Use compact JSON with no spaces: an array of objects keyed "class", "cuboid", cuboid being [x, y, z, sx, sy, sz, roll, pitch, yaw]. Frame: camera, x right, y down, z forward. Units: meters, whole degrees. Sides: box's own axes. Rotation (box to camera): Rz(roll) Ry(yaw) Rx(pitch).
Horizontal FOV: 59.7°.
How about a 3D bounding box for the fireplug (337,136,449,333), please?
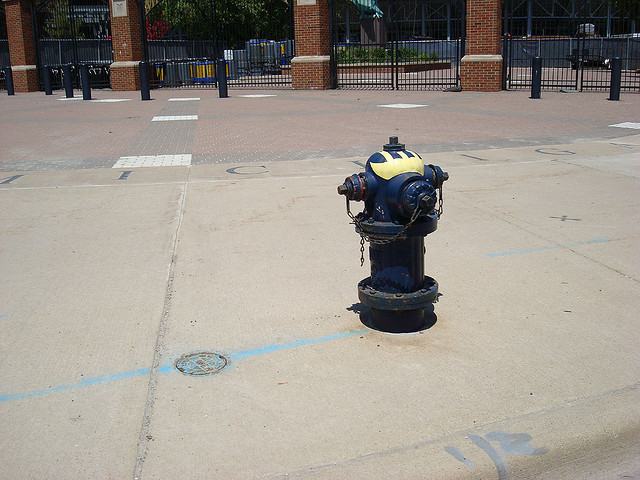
[{"class":"fireplug","cuboid":[0.522,-0.023,4.115,0.679,1.426,0.468,1,16,12]}]
